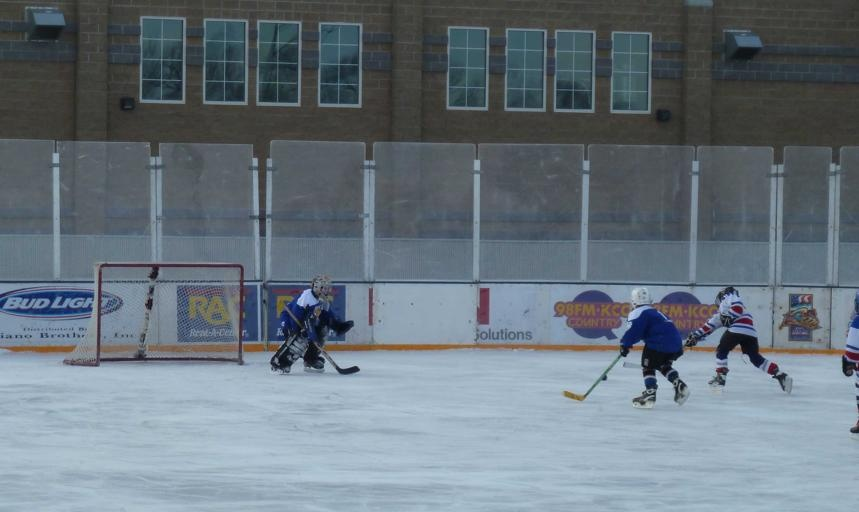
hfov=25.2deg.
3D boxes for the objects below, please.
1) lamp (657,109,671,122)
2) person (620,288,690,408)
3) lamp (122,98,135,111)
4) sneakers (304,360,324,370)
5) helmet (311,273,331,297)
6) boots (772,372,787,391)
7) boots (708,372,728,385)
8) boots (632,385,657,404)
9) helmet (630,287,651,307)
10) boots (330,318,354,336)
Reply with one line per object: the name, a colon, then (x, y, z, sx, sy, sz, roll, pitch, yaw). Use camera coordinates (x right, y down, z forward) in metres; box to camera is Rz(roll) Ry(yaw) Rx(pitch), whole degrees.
lamp: (6.637, -3.979, 54.736, 0.366, 0.323, 0.101, 2, -2, -2)
person: (5.041, 2.002, 43.002, 1.192, 2.621, 1.254, 0, 0, 45)
lamp: (-8.289, -4.186, 53.135, 0.413, 0.359, 0.166, 0, 0, -6)
sneakers: (-2.702, 2.521, 45.590, 0.393, 0.202, 0.215, 4, 1, -3)
helmet: (-2.539, 0.677, 45.628, 0.514, 0.440, 0.419, 0, 5, 0)
boots: (8.075, 2.806, 43.909, 0.359, 0.229, 0.512, 1, -36, 38)
boots: (6.655, 2.754, 44.399, 0.437, 0.404, 0.304, 0, 0, -3)
boots: (4.823, 3.055, 43.043, 0.478, 0.437, 0.584, 0, 0, 13)
helmet: (4.739, 0.888, 43.231, 0.409, 0.398, 0.452, 1, 9, 3)
boots: (-2.042, 1.634, 45.538, 0.538, 0.303, 0.244, -9, 21, 10)
